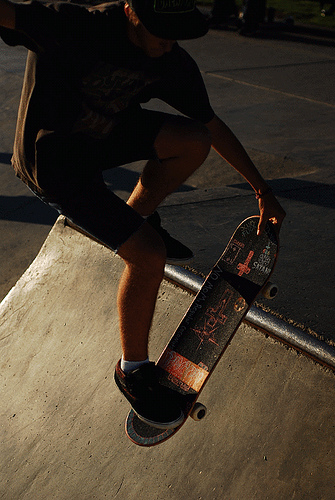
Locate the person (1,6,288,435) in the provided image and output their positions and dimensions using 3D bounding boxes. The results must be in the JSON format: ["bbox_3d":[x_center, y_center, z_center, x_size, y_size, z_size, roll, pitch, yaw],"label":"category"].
[{"bbox_3d":[-0.082,-0.143,1.702,0.769,1.226,0.728,20,33,29],"label":"person"}]
